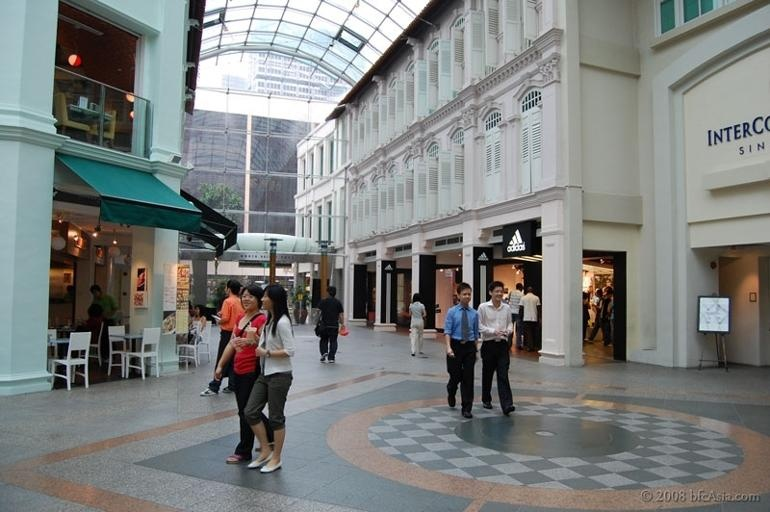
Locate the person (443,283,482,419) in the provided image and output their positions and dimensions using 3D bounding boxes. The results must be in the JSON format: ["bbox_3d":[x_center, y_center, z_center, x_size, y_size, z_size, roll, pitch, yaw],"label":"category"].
[{"bbox_3d":[1.594,1.868,11.092,0.685,2.065,0.970,1,0,10],"label":"person"}]

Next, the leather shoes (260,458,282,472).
[{"bbox_3d":[-1.705,3.130,8.121,0.141,0.114,0.277,-10,-18,33],"label":"leather shoes"}]

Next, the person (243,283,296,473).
[{"bbox_3d":[-1.732,1.816,8.155,0.695,2.755,0.367,1,0,-3],"label":"person"}]

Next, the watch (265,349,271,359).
[{"bbox_3d":[-1.755,1.451,8.085,0.078,0.118,0.055,1,0,6],"label":"watch"}]

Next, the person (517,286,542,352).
[{"bbox_3d":[5.395,2.312,20.051,0.722,1.986,1.086,1,0,17],"label":"person"}]

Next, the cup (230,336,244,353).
[{"bbox_3d":[-2.313,1.383,8.431,0.176,0.226,0.230,8,-8,-12],"label":"cup"}]

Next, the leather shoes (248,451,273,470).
[{"bbox_3d":[-1.892,3.079,8.256,0.170,0.200,0.471,-11,-7,31],"label":"leather shoes"}]

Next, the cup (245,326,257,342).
[{"bbox_3d":[-2.032,1.199,8.230,0.183,0.176,0.180,2,-8,0],"label":"cup"}]

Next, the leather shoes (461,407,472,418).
[{"bbox_3d":[1.640,3.065,10.740,0.225,0.161,0.281,1,1,7],"label":"leather shoes"}]

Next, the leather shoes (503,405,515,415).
[{"bbox_3d":[2.456,3.040,10.746,0.137,0.182,0.265,0,6,18],"label":"leather shoes"}]

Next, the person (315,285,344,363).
[{"bbox_3d":[-1.731,2.091,16.892,0.816,2.354,1.351,1,0,-7],"label":"person"}]

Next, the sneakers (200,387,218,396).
[{"bbox_3d":[-3.934,3.005,12.057,0.397,0.196,0.157,7,-6,-14],"label":"sneakers"}]

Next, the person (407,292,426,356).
[{"bbox_3d":[1.114,2.338,18.709,0.444,1.548,1.586,1,1,3],"label":"person"}]

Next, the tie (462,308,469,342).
[{"bbox_3d":[1.646,1.376,11.004,0.173,0.528,0.117,1,0,8],"label":"tie"}]
